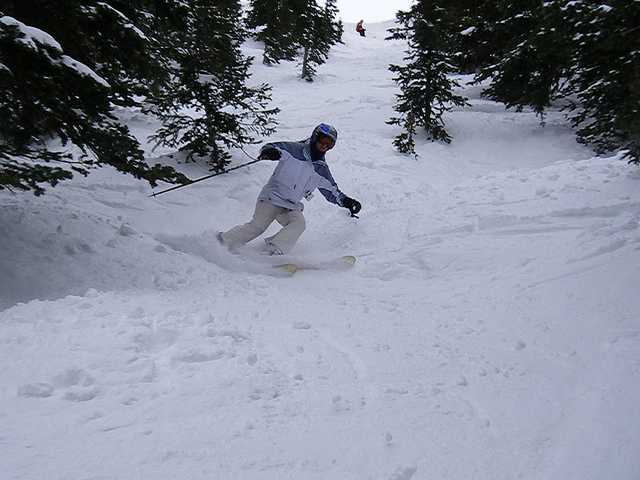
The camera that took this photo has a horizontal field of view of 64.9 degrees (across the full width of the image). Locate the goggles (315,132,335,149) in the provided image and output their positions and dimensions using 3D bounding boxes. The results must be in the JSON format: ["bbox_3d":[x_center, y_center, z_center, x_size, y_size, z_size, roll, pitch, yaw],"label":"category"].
[{"bbox_3d":[0.054,-1.584,7.987,0.097,0.191,0.245,-54,31,1],"label":"goggles"}]

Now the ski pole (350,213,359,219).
[{"bbox_3d":[0.569,-0.412,8.319,0.125,0.037,0.079,26,-6,-8],"label":"ski pole"}]

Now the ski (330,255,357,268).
[{"bbox_3d":[0.401,0.348,8.224,0.290,0.073,0.191,7,67,9],"label":"ski"}]

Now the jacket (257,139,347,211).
[{"bbox_3d":[-0.371,-1.111,8.979,1.735,1.122,0.597,23,6,-43],"label":"jacket"}]

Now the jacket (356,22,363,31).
[{"bbox_3d":[3.561,-19.425,45.755,0.459,0.737,0.577,-9,33,-11],"label":"jacket"}]

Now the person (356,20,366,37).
[{"bbox_3d":[3.716,-19.419,46.109,0.863,1.468,1.918,0,33,3],"label":"person"}]

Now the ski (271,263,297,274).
[{"bbox_3d":[-0.555,0.455,7.586,0.369,0.153,0.117,-8,33,-9],"label":"ski"}]

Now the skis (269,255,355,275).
[{"bbox_3d":[-0.156,0.402,7.901,1.342,0.148,0.209,-5,76,-19],"label":"skis"}]
